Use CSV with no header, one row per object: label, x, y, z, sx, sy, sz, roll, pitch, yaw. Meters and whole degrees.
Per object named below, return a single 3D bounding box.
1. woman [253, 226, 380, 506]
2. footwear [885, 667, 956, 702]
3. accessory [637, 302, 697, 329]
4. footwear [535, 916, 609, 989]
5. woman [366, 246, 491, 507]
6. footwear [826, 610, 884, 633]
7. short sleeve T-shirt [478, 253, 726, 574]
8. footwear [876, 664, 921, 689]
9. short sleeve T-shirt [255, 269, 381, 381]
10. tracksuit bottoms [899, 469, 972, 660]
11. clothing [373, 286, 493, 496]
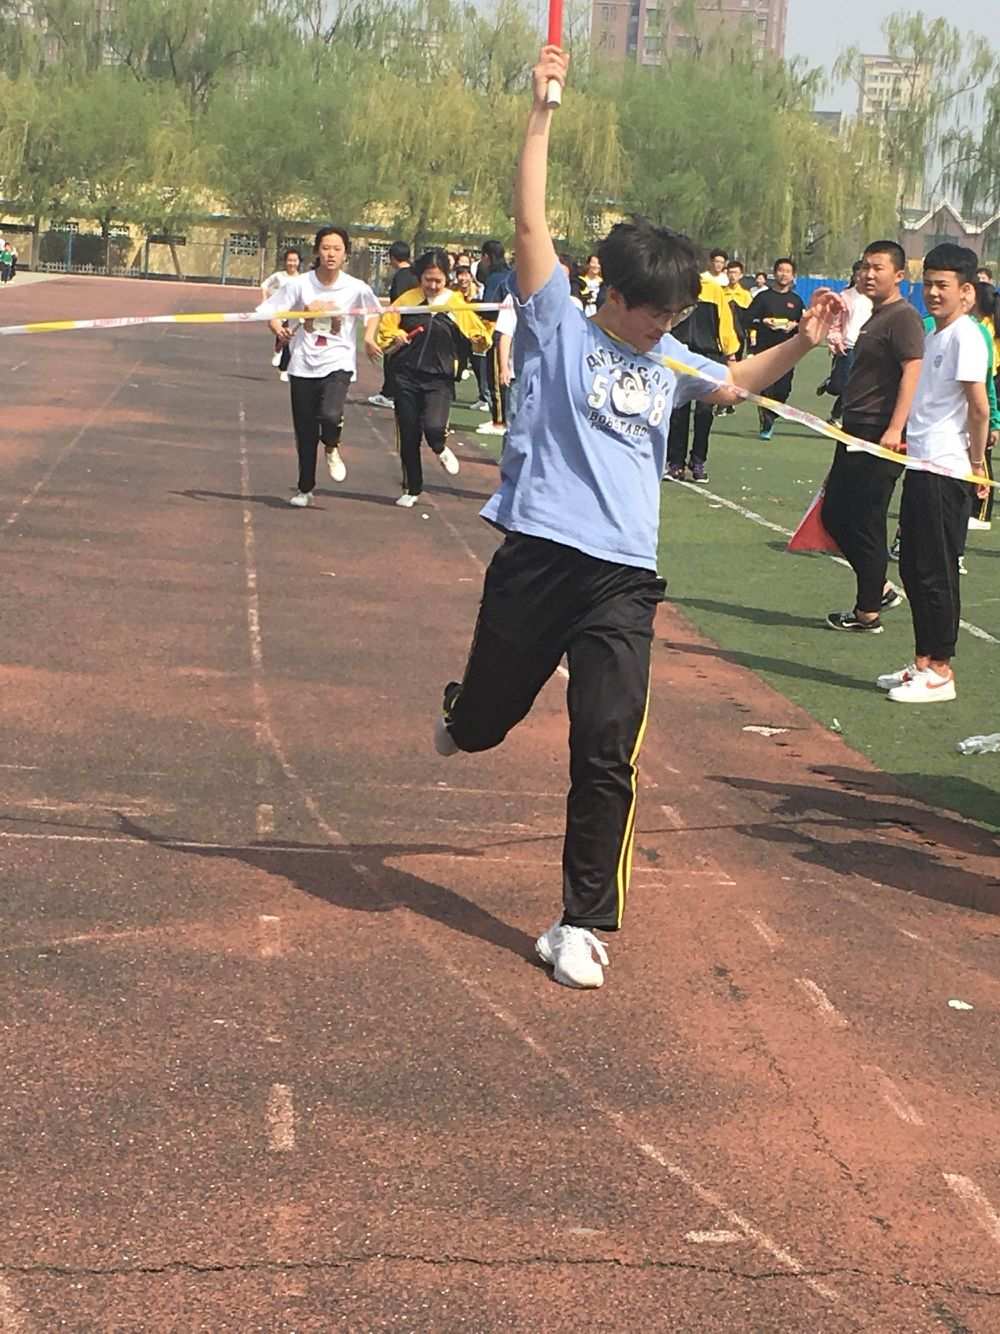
woman,-1.395,-2.228,10.258,1.071,1.989,0.747,1,14,-2
footwear,1.992,0.100,6.430,0.384,0.155,0.124,-1,8,-9
accessory,0.372,-0.804,3.173,0.088,0.025,0.086,-21,32,-25
footwear,0.180,0.690,3.282,0.132,0.076,0.173,-12,33,-19
woman,-0.523,-2.317,11.072,1.055,2.007,0.808,1,14,-6
footwear,2.048,-0.242,7.914,0.319,0.126,0.121,11,1,3
short sleeve T-shirt,0.194,-0.582,3.208,0.423,0.680,0.310,6,13,-2
footwear,1.928,0.060,6.589,0.092,0.098,0.234,-12,8,-41
short sleeve T-shirt,-1.349,-2.535,10.067,1.161,0.820,0.319,-5,30,-32
tracksuit bottoms,2.020,-0.468,6.437,0.364,0.879,0.298,10,14,13
clothing,-0.537,-2.342,10.959,0.998,1.926,0.764,3,9,-1
